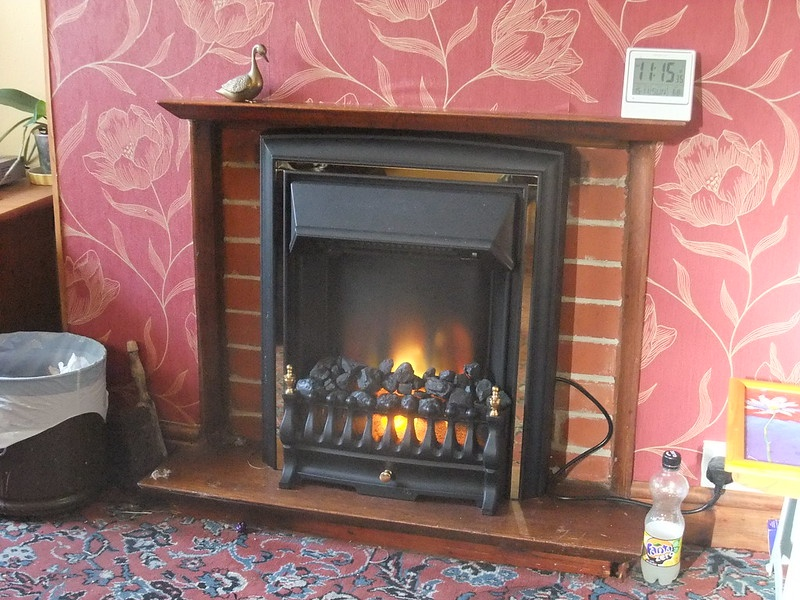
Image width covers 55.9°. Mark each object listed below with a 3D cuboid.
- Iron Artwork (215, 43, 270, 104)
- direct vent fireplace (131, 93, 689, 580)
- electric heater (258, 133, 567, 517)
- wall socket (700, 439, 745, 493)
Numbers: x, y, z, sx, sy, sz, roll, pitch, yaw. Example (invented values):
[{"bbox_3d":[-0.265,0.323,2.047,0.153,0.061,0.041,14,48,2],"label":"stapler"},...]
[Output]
[{"bbox_3d":[-0.380,-0.593,1.937,0.169,0.162,0.119,-1,18,4],"label":"Iron Artwork"},{"bbox_3d":[0.079,0.094,2.014,1.167,1.025,0.355,5,15,18],"label":"direct vent fireplace"},{"bbox_3d":[0.044,0.062,2.010,0.935,1.047,0.320,5,20,13],"label":"electric heater"},{"bbox_3d":[0.826,0.419,1.980,0.139,0.140,0.131,2,10,24],"label":"wall socket"}]
